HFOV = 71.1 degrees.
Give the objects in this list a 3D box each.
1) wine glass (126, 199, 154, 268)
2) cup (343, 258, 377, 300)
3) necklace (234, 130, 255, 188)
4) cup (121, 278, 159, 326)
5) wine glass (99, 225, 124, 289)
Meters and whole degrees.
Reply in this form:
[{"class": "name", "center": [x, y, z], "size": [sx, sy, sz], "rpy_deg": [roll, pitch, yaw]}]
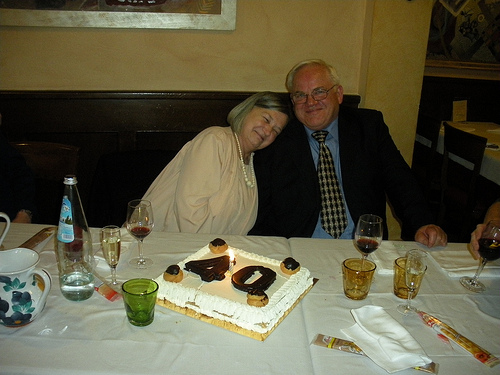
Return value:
[{"class": "wine glass", "center": [-0.524, 0.226, 1.653], "size": [0.136, 0.357, 0.145], "rpy_deg": [-1, 26, -5]}, {"class": "cup", "center": [0.466, 0.408, 1.526], "size": [0.140, 0.146, 0.138], "rpy_deg": [7, 1, 0]}, {"class": "necklace", "center": [-0.022, -0.191, 2.384], "size": [0.074, 0.339, 0.192], "rpy_deg": [-14, -11, 41]}, {"class": "cup", "center": [-0.390, 0.414, 1.323], "size": [0.154, 0.136, 0.161], "rpy_deg": [1, -7, 0]}, {"class": "wine glass", "center": [-0.609, 0.312, 1.526], "size": [0.077, 0.248, 0.080], "rpy_deg": [-13, 44, -21]}]
